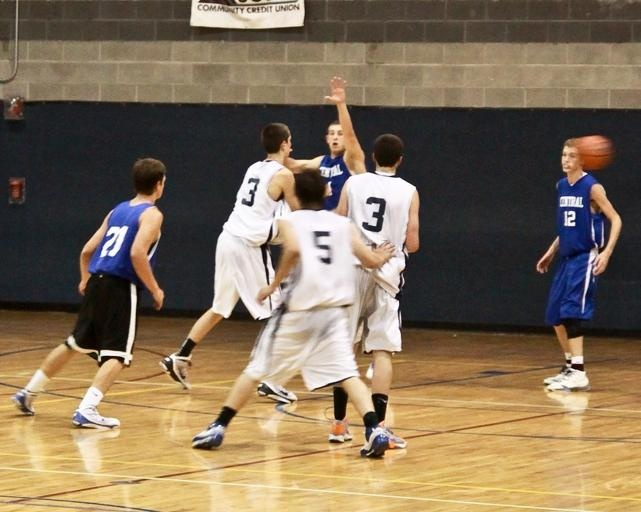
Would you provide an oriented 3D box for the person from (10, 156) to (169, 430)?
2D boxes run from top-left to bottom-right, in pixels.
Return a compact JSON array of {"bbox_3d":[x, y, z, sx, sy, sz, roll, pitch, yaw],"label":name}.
[{"bbox_3d":[-1.497,0.235,6.301,0.948,1.812,0.604,3,7,7],"label":"person"}]

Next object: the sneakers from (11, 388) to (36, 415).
[{"bbox_3d":[-2.104,1.050,6.514,0.088,0.117,0.256,-5,-33,6],"label":"sneakers"}]

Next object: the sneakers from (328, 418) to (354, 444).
[{"bbox_3d":[0.121,1.127,5.884,0.081,0.104,0.218,1,0,14],"label":"sneakers"}]

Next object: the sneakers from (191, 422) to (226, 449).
[{"bbox_3d":[-0.671,1.105,5.592,0.115,0.134,0.264,30,-28,-19],"label":"sneakers"}]

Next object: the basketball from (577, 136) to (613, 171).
[{"bbox_3d":[2.941,-1.107,9.773,0.429,0.353,0.419,-8,13,-33],"label":"basketball"}]

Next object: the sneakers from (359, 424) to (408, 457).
[{"bbox_3d":[0.371,1.114,5.508,0.138,0.171,0.336,0,-1,12],"label":"sneakers"}]

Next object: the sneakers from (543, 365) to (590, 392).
[{"bbox_3d":[2.139,1.068,7.948,0.348,0.210,0.283,4,7,14],"label":"sneakers"}]

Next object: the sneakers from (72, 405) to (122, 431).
[{"bbox_3d":[-1.511,1.109,6.222,0.350,0.176,0.132,3,-2,-10],"label":"sneakers"}]

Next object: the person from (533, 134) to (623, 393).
[{"bbox_3d":[2.275,0.084,7.976,0.557,2.170,0.602,4,7,17],"label":"person"}]

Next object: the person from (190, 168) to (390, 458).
[{"bbox_3d":[-0.094,0.337,5.374,1.023,1.671,0.298,2,7,3],"label":"person"}]
